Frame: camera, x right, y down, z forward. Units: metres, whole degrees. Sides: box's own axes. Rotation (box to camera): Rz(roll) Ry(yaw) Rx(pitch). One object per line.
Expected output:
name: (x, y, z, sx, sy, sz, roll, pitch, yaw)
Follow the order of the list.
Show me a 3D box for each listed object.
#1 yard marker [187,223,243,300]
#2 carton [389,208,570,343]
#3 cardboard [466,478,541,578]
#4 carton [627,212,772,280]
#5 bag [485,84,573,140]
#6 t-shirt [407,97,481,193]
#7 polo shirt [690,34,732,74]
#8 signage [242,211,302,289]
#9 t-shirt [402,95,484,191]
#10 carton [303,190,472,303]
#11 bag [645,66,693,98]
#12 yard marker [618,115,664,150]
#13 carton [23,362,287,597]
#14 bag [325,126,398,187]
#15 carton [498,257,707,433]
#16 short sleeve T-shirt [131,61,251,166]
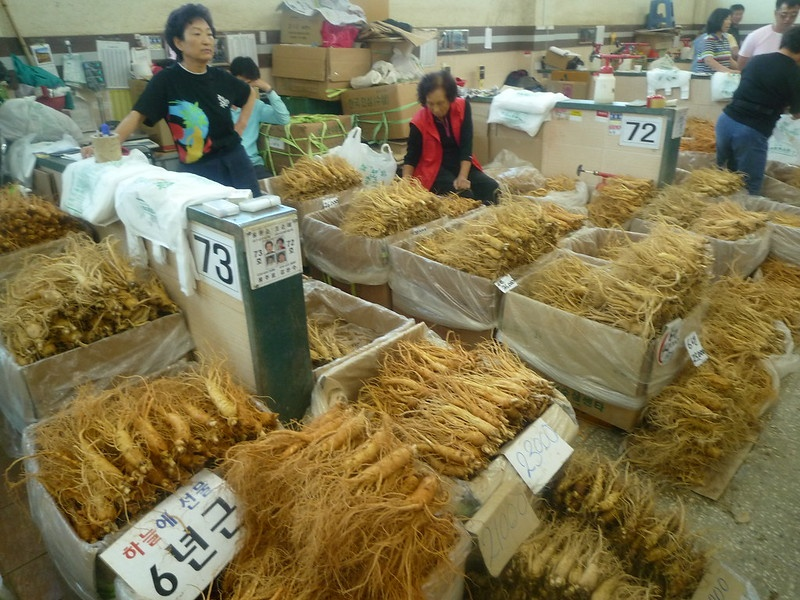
yard marker: (-0.744, -0.171, 2.320, 0.346, 0.218, 0.013, 21, 39, 31)
carton: (0.597, -0.251, 3.671, 0.709, 0.426, 1.136, 22, 41, 36)
cardboard: (0.395, 0.849, 2.178, 0.270, 0.084, 0.406, 35, 24, 29)
carton: (2.136, -0.285, 3.844, 0.532, 0.264, 0.696, 23, 37, 38)
bag: (1.150, -1.750, 5.229, 0.650, 0.197, 0.561, 16, 42, 29)
t-shirt: (0.452, -1.282, 4.836, 0.598, 0.567, 0.356, -6, 3, 13)
polo shirt: (3.902, -3.059, 7.134, 0.596, 0.504, 0.350, -20, 26, -39)
signage: (-0.510, -0.203, 2.239, 0.310, 0.250, 0.109, -19, 29, -37)
t-shirt: (0.398, -1.379, 4.880, 0.703, 0.697, 0.379, -11, 41, -1)
carton: (-0.033, -0.427, 4.111, 0.833, 0.403, 1.097, 16, 27, 36)
bag: (3.097, -2.501, 6.605, 0.499, 0.299, 0.315, 7, 31, 12)
yard marker: (1.926, -1.344, 4.534, 0.019, 0.238, 0.356, -33, 36, -29)
carton: (-0.969, 0.793, 2.410, 0.992, 0.365, 0.902, -22, 39, -25)
bag: (-0.299, -1.173, 4.836, 0.547, 0.427, 0.294, -7, 39, -26)
carton: (1.176, 0.265, 3.252, 0.956, 0.498, 0.932, 21, 30, 31)
short sleeve T-shirt: (-1.318, -1.228, 3.697, 0.327, 0.615, 0.871, 32, 40, 20)
